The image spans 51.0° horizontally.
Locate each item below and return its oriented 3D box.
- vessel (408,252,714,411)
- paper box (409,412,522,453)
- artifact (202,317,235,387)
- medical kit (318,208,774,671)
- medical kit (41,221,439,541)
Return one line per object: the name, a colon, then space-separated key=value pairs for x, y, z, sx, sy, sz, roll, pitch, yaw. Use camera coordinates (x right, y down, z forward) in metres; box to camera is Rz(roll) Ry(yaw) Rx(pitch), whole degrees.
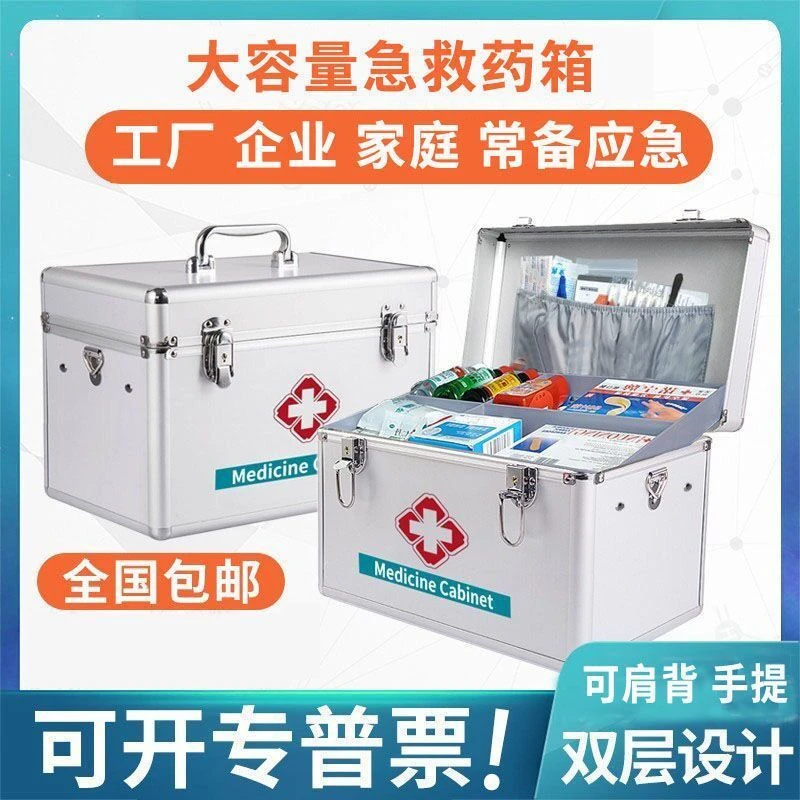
vessel: x=0.522 y=-0.173 z=2.413 sx=0.665 sy=0.450 sz=0.480 roll=12 pitch=9 yaw=42
paper box: x=0.153 y=0.075 z=1.921 sx=0.126 sy=0.038 sz=0.129 roll=8 pitch=22 yaw=28
artifact: x=-0.510 y=-0.129 z=2.372 sx=0.028 sy=0.205 sz=0.108 roll=10 pitch=19 yaw=44
medical kit: x=0.365 y=0.027 z=2.244 sx=0.835 sy=1.054 sz=0.928 roll=-5 pitch=7 yaw=-43
medical kit: x=-0.483 y=-0.121 z=2.786 sx=1.043 sy=0.856 sz=0.681 roll=-10 pitch=20 yaw=-42
